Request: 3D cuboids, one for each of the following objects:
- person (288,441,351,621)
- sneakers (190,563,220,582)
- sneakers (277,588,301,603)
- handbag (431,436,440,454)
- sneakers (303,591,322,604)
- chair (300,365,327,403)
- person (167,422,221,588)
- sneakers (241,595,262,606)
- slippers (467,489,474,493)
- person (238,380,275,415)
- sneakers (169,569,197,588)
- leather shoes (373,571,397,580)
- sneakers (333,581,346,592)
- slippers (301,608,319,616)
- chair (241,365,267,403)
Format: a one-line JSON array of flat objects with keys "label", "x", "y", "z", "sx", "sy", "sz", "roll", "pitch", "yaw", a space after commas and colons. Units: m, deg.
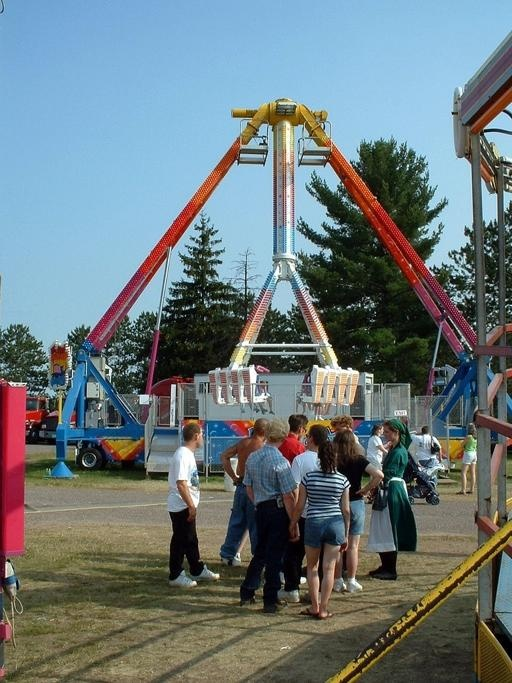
[{"label": "person", "x": 0.548, "y": 1.567, "z": 8.235, "sx": 0.411, "sy": 1.468, "sz": 0.433, "roll": 1, "pitch": -6, "yaw": 19}, {"label": "sneakers", "x": -0.480, "y": 2.283, "z": 9.578, "sx": 0.307, "sy": 0.167, "sz": 0.116, "roll": 4, "pitch": -4, "yaw": -27}, {"label": "sneakers", "x": 0.297, "y": 2.294, "z": 8.783, "sx": 0.214, "sy": 0.098, "sz": 0.081, "roll": 3, "pitch": -3, "yaw": 43}, {"label": "handbag", "x": 3.431, "y": 1.985, "z": 18.625, "sx": 0.113, "sy": 0.293, "sz": 0.178, "roll": 26, "pitch": -28, "yaw": -35}, {"label": "sneakers", "x": 0.481, "y": 2.328, "z": 8.801, "sx": 0.123, "sy": 0.078, "sz": 0.207, "roll": 0, "pitch": -8, "yaw": -7}, {"label": "chair", "x": 1.323, "y": 1.029, "z": 22.356, "sx": 0.428, "sy": 0.810, "sz": 0.815, "roll": 5, "pitch": -5, "yaw": -16}, {"label": "person", "x": -0.642, "y": 1.551, "z": 9.216, "sx": 0.382, "sy": 1.543, "sz": 0.742, "roll": 3, "pitch": -5, "yaw": 0}, {"label": "sneakers", "x": -0.050, "y": 2.267, "z": 8.491, "sx": 0.111, "sy": 0.063, "sz": 0.162, "roll": -1, "pitch": -10, "yaw": 3}, {"label": "slippers", "x": 4.325, "y": 3.049, "z": 19.735, "sx": 0.059, "sy": 0.080, "sz": 0.190, "roll": 9, "pitch": 0, "yaw": -43}, {"label": "person", "x": 0.048, "y": 1.286, "z": 22.501, "sx": 0.425, "sy": 0.821, "sz": 1.231, "roll": -3, "pitch": -7, "yaw": 19}, {"label": "sneakers", "x": -0.684, "y": 2.258, "z": 9.231, "sx": 0.230, "sy": 0.155, "sz": 0.124, "roll": -1, "pitch": 0, "yaw": -1}, {"label": "leather shoes", "x": 1.270, "y": 2.328, "z": 9.693, "sx": 0.214, "sy": 0.103, "sz": 0.081, "roll": -2, "pitch": -2, "yaw": 12}, {"label": "sneakers", "x": 0.777, "y": 2.306, "z": 9.109, "sx": 0.110, "sy": 0.115, "sz": 0.070, "roll": -2, "pitch": -5, "yaw": 5}, {"label": "slippers", "x": 0.452, "y": 2.235, "z": 8.077, "sx": 0.057, "sy": 0.061, "sz": 0.160, "roll": 8, "pitch": -4, "yaw": -29}, {"label": "chair", "x": -0.064, "y": 1.032, "z": 22.270, "sx": 0.379, "sy": 0.820, "sz": 0.789, "roll": 1, "pitch": -6, "yaw": 23}]
